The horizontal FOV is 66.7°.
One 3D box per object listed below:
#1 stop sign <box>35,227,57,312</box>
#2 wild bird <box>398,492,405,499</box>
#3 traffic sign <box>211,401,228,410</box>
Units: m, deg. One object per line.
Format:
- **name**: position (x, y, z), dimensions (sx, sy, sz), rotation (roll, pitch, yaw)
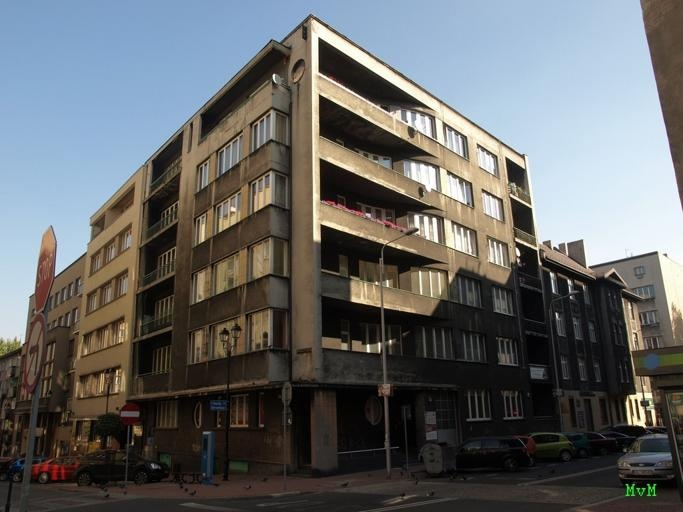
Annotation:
- **stop sign**: position (-5.469, 0.170, 9.581), dimensions (0.266, 1.312, 1.230), rotation (8, -26, -30)
- **wild bird**: position (2.153, 8.391, 18.137), dimensions (0.217, 0.125, 0.310), rotation (-6, -10, -13)
- **traffic sign**: position (-5.947, 7.229, 25.152), dimensions (0.728, 0.554, 0.180), rotation (-1, 4, -7)
